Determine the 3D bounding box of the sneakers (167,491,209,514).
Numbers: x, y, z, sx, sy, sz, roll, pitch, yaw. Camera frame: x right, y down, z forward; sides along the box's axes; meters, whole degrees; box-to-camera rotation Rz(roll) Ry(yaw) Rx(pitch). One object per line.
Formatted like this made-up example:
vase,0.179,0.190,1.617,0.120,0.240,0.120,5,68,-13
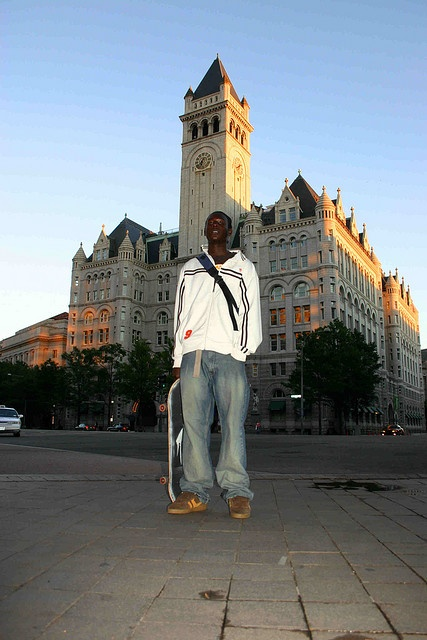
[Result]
sneakers,-0.226,1.592,4.176,0.126,0.149,0.376,-9,-29,31

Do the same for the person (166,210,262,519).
person,0.015,0.281,4.519,0.851,2.854,0.737,0,-8,1

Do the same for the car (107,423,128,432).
car,-11.543,12.925,57.932,2.235,1.080,1.358,9,-19,-2

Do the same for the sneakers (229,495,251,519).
sneakers,0.209,1.554,4.031,0.172,0.126,0.340,0,-8,-1

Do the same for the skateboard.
skateboard,-0.414,1.116,4.421,0.151,1.053,0.253,-2,-7,32
